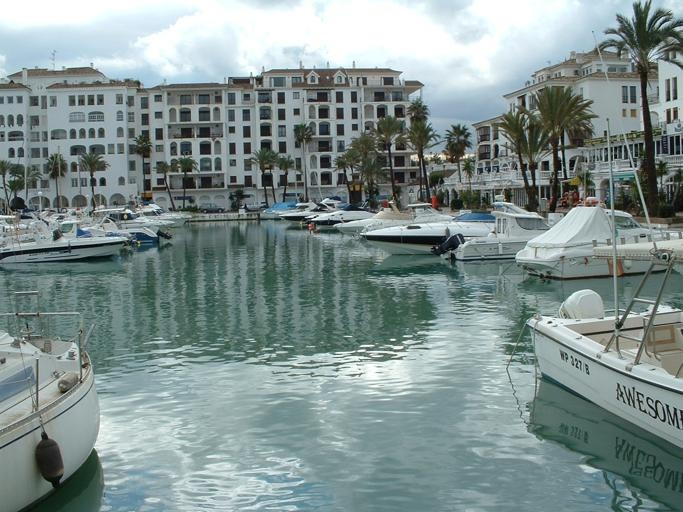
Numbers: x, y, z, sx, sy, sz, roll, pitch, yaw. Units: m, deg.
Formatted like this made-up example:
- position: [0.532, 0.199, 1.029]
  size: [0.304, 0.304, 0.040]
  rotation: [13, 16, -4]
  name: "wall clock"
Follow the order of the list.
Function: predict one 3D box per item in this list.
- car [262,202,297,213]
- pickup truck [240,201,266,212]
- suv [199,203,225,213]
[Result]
- position: [-8.196, -6.615, 92.482]
  size: [4.403, 1.069, 2.709]
  rotation: [2, 5, 21]
  name: "car"
- position: [-13.726, -7.694, 104.454]
  size: [4.437, 1.105, 2.094]
  rotation: [0, 1, -7]
  name: "pickup truck"
- position: [-19.967, -6.882, 102.646]
  size: [4.426, 1.546, 2.291]
  rotation: [-3, 6, -4]
  name: "suv"
